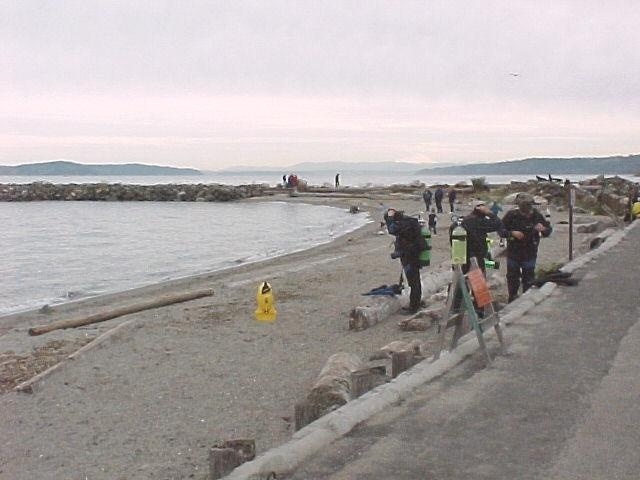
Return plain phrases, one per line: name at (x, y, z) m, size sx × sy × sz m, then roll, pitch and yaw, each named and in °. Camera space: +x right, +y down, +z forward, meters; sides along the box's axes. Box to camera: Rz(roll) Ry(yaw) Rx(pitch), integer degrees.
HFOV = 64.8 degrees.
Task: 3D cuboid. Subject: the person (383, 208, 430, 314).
person at (2.045, 0.493, 11.642) m, size 0.838 × 2.404 × 0.773 m, roll -5°, pitch 11°, yaw -2°
